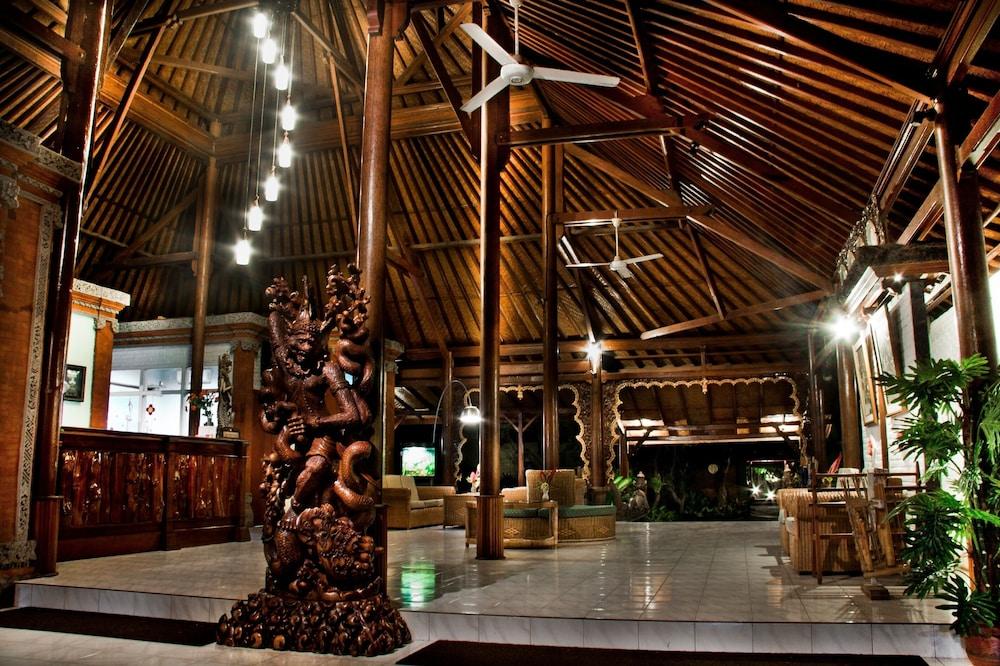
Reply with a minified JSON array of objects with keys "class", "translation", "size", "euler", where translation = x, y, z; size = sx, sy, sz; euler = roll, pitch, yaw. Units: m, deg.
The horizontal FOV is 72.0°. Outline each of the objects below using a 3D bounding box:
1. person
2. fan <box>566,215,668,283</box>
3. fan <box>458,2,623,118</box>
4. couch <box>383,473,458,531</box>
[{"class":"person","translation":[-1.362,0.442,5.180],"size":[0.883,1.817,0.409],"euler":[-6,-12,15]},{"class":"fan","translation":[2.038,-1.356,11.553],"size":[1.449,1.180,1.293],"euler":[5,-13,-24]},{"class":"fan","translation":[0.452,-2.833,7.263],"size":[1.558,1.332,1.587],"euler":[-1,-28,7]},{"class":"couch","translation":[-1.479,2.913,11.804],"size":[0.738,0.896,1.746],"euler":[-5,-11,6]}]
